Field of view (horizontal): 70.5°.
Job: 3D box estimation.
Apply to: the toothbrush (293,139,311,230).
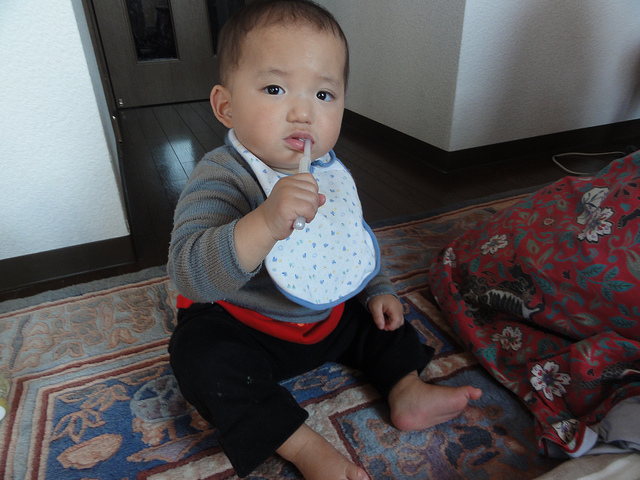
[{"bbox_3d":[-0.017,-0.114,0.874,0.025,0.021,0.191,27,57,-23],"label":"toothbrush"}]
